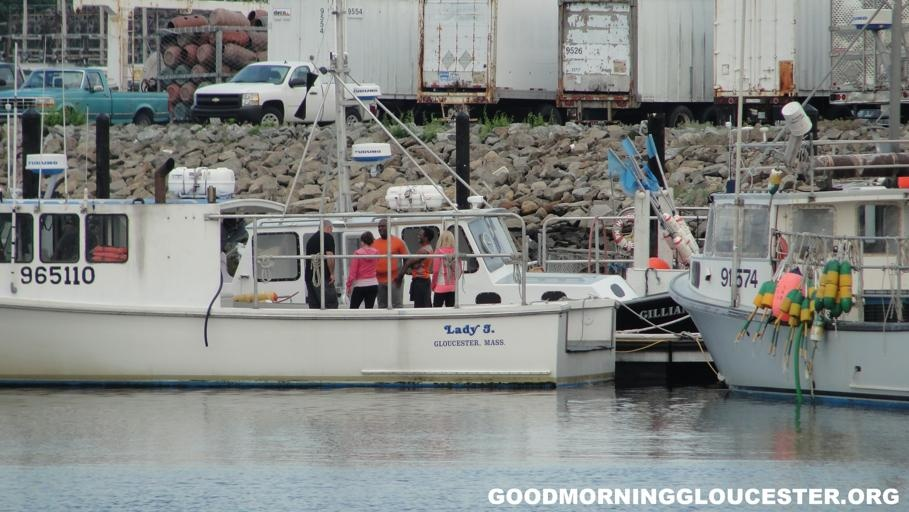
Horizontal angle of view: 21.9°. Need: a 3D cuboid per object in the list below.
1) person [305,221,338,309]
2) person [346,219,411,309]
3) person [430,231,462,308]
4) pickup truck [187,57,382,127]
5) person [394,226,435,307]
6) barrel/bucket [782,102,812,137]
[{"bbox_3d":[-3.349,0.235,58.021,0.759,2.136,0.631,0,0,2],"label":"person"},{"bbox_3d":[-2.007,0.371,58.170,1.163,2.497,1.067,-7,1,-25],"label":"person"},{"bbox_3d":[-0.285,0.356,58.015,0.625,1.907,0.524,-3,0,27],"label":"person"},{"bbox_3d":[-5.634,-4.744,71.759,4.905,1.810,2.988,1,0,-25],"label":"pickup truck"},{"bbox_3d":[-1.061,0.275,58.144,0.696,1.976,0.722,-2,1,-41],"label":"person"},{"bbox_3d":[8.241,-3.252,57.378,0.645,0.852,0.828,-1,7,11],"label":"barrel/bucket"}]
